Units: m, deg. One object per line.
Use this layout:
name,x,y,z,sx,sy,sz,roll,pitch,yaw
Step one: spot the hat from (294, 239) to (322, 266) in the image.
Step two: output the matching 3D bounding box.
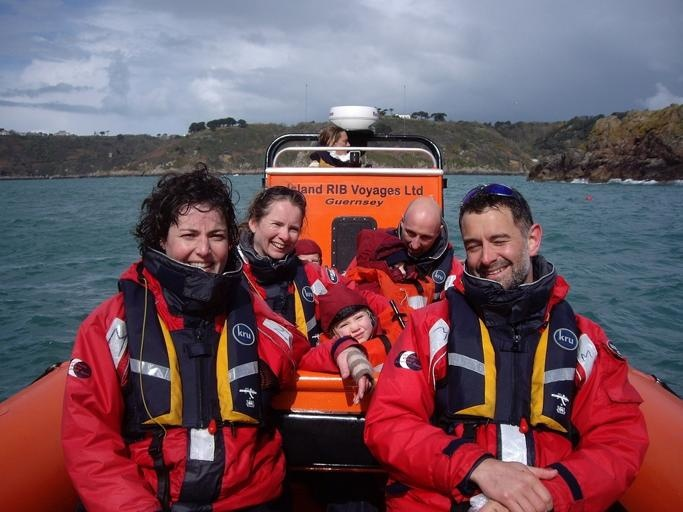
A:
hat,-0.282,-0.037,4.947,0.164,0.208,0.219,1,16,-7
